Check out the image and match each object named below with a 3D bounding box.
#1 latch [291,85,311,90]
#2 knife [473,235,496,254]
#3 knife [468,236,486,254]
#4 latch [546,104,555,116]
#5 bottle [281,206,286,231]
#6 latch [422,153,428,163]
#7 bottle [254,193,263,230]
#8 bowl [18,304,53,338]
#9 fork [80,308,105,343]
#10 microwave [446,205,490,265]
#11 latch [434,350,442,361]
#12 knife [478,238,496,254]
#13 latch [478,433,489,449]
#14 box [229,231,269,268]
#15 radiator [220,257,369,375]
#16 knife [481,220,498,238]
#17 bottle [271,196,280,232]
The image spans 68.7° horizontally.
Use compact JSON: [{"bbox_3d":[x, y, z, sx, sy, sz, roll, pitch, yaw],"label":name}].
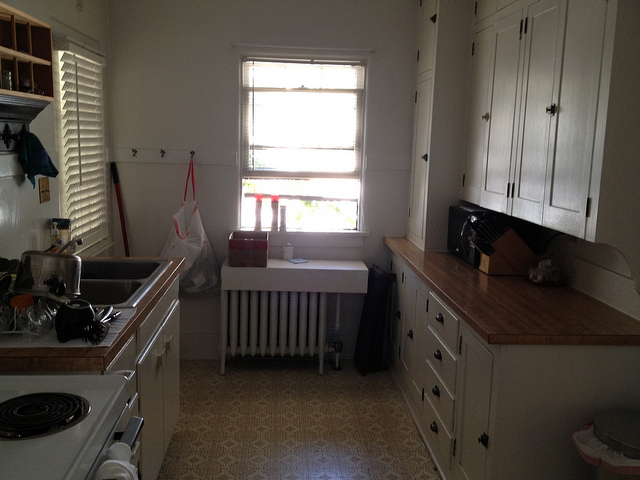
[{"bbox_3d":[-0.161,-1.282,3.941,0.131,0.038,0.024,0,13,-5],"label":"latch"},{"bbox_3d":[1.066,0.023,3.032,0.022,0.035,0.136,-21,60,-21],"label":"knife"},{"bbox_3d":[1.032,0.028,3.070,0.076,0.020,0.079,40,15,-46],"label":"knife"},{"bbox_3d":[1.191,-0.674,2.439,0.009,0.048,0.039,0,3,-14],"label":"latch"},{"bbox_3d":[-0.311,-0.189,4.052,0.038,0.198,0.054,0,12,-5],"label":"bottle"},{"bbox_3d":[0.810,-0.637,3.638,0.033,0.086,0.077,1,3,-3],"label":"latch"},{"bbox_3d":[-0.527,-0.241,4.054,0.072,0.292,0.085,-1,12,-7],"label":"bottle"},{"bbox_3d":[-1.148,0.335,1.915,0.076,0.123,0.106,-12,-5,44],"label":"bowl"},{"bbox_3d":[-0.920,0.339,1.889,0.038,0.139,0.014,31,-16,-37],"label":"fork"},{"bbox_3d":[1.028,-0.027,3.224,0.163,0.350,0.352,1,6,0],"label":"microwave"},{"bbox_3d":[0.709,0.692,2.816,0.015,0.049,0.038,-9,-7,-4],"label":"latch"},{"bbox_3d":[1.075,0.036,3.019,0.016,0.072,0.123,-6,16,-30],"label":"knife"},{"bbox_3d":[0.786,0.957,2.254,0.015,0.048,0.032,8,24,-14],"label":"latch"},{"bbox_3d":[-0.564,0.091,3.774,0.259,0.207,0.292,1,16,-4],"label":"box"},{"bbox_3d":[-0.253,0.620,3.872,0.772,0.717,0.276,0,5,-3],"label":"radiator"},{"bbox_3d":[1.089,-0.077,3.027,0.033,0.031,0.196,34,22,-55],"label":"knife"},{"bbox_3d":[-0.388,-0.227,4.037,0.056,0.287,0.063,-1,12,-7],"label":"bottle"}]
